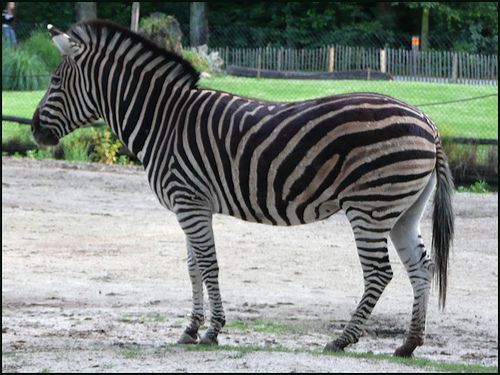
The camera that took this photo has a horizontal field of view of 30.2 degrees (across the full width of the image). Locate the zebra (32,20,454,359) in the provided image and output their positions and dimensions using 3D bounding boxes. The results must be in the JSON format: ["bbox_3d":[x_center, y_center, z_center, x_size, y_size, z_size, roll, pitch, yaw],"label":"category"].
[{"bbox_3d":[-0.295,0.090,13.832,6.315,5.034,2.085,2,7,10],"label":"zebra"}]
